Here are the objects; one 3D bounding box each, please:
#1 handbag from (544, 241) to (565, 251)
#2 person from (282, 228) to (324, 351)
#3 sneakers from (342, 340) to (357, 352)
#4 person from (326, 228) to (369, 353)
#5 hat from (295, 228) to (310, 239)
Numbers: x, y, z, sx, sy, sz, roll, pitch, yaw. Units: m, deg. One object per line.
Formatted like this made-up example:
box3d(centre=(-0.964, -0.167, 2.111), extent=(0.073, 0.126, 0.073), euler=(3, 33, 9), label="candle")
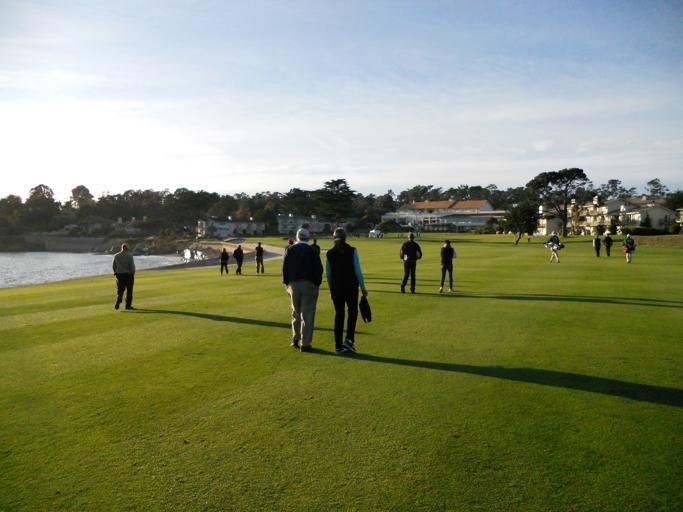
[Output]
box3d(centre=(16.612, -0.754, 39.432), extent=(1.934, 0.732, 1.459), euler=(-4, 4, -40), label="handbag")
box3d(centre=(-0.770, 0.629, 9.878), extent=(0.751, 2.432, 1.154), euler=(-3, 11, -5), label="person")
box3d(centre=(0.140, 1.715, 9.556), extent=(0.320, 0.144, 0.125), euler=(30, -8, -17), label="sneakers")
box3d(centre=(0.077, 0.674, 9.894), extent=(0.721, 2.377, 1.411), euler=(-1, 11, 1), label="person")
box3d(centre=(-0.770, -0.426, 9.652), extent=(0.197, 0.137, 0.271), euler=(2, 9, -2), label="hat")
